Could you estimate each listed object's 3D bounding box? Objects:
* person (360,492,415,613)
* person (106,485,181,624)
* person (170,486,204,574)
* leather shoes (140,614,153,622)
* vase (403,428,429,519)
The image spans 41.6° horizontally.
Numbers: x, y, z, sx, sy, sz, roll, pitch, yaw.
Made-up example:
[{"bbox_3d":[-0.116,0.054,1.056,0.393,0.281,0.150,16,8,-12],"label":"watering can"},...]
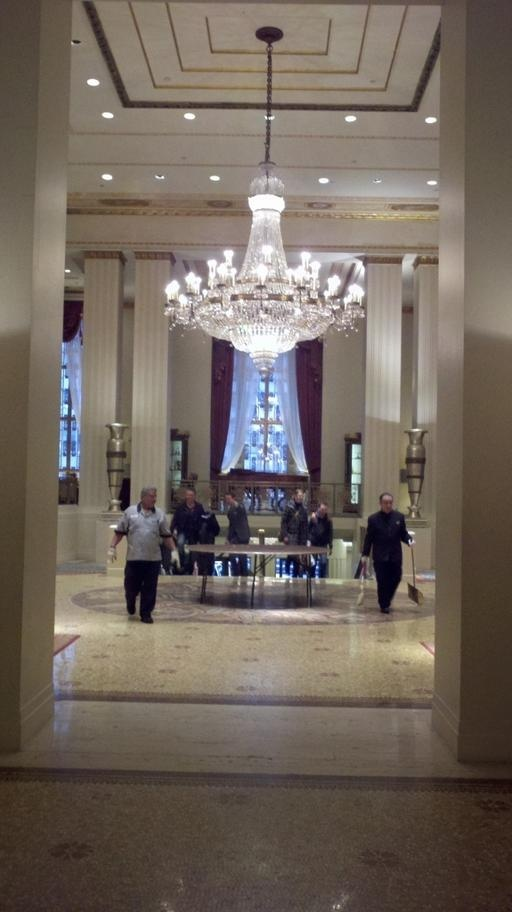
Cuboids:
[{"bbox_3d":[1.385,1.020,7.177,0.442,1.283,0.487,-1,12,11],"label":"person"},{"bbox_3d":[-1.092,0.933,6.406,0.575,1.269,0.805,2,-4,-13],"label":"person"},{"bbox_3d":[-0.955,1.062,9.508,0.393,1.251,0.391,-2,13,-12],"label":"person"},{"bbox_3d":[-1.039,1.534,6.383,0.064,0.111,0.108,7,-11,-40],"label":"leather shoes"},{"bbox_3d":[2.514,0.268,10.693,0.285,1.432,0.561,0,-4,12],"label":"vase"}]
